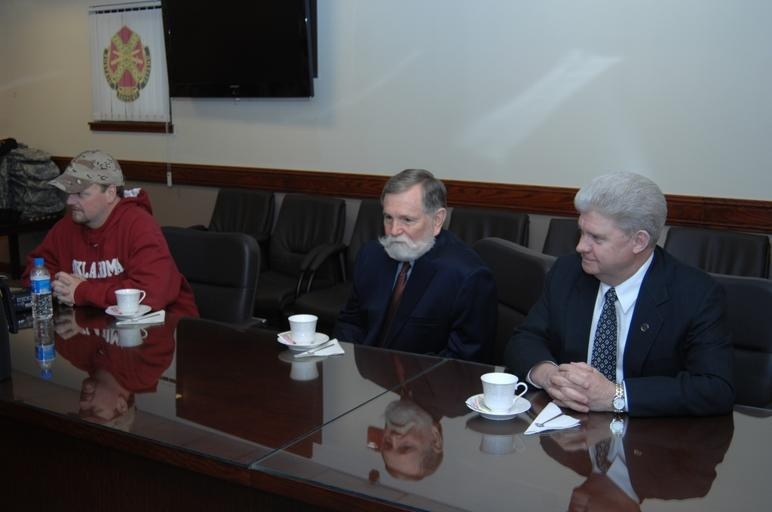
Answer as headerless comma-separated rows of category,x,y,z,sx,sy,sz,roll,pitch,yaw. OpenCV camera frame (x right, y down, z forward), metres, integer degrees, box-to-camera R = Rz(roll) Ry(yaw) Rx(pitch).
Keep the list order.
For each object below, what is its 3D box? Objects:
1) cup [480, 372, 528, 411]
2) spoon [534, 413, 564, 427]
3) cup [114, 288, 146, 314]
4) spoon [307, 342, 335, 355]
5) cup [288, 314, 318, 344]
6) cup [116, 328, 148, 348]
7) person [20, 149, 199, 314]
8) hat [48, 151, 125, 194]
cup,0.336,0.391,1.495,0.098,0.096,0.130,0,1,-36
spoon,0.457,0.465,1.421,0.139,0.010,0.028,-7,-6,-29
cup,-1.124,0.197,2.229,0.123,0.096,0.102,4,-7,-32
spoon,-0.235,0.343,1.897,0.029,0.013,0.118,17,18,23
cup,-0.310,0.277,1.919,0.103,0.108,0.103,-2,-4,0
cup,-0.997,0.324,1.984,0.074,0.068,0.093,2,-9,-28
person,-1.438,-0.138,2.616,1.023,0.786,0.479,12,17,41
hat,-1.586,-0.449,2.684,0.330,0.175,0.236,2,6,-32
